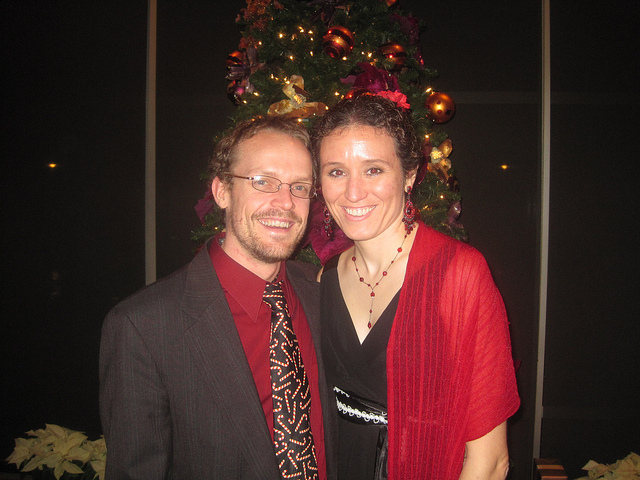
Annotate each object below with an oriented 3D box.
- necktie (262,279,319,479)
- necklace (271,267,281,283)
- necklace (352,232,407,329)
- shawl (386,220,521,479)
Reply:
[{"bbox_3d":[-0.192,0.884,3.743,0.270,1.143,0.120,-5,-8,-17],"label":"necktie"},{"bbox_3d":[-0.293,0.236,3.978,0.076,0.077,0.058,-2,-28,4],"label":"necklace"},{"bbox_3d":[0.384,0.264,3.931,0.246,0.744,0.032,6,-10,23],"label":"necklace"},{"bbox_3d":[0.839,0.737,3.786,0.784,1.598,0.177,-1,-8,20],"label":"shawl"}]
